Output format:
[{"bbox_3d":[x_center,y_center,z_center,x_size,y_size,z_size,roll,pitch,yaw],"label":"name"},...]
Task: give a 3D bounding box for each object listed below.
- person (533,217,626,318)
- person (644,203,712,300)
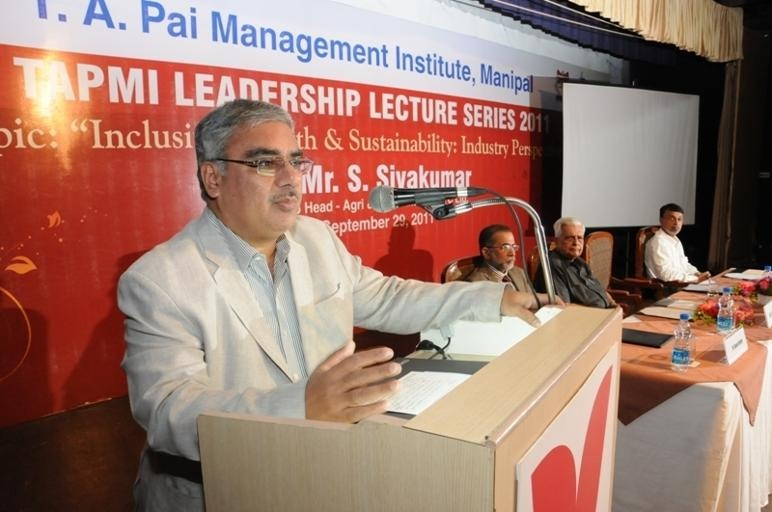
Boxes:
[{"bbox_3d":[1.761,0.219,4.796,0.646,1.086,0.747,-5,-4,3],"label":"person"},{"bbox_3d":[3.349,-0.044,6.052,0.642,1.089,0.775,3,-2,-10],"label":"person"}]
